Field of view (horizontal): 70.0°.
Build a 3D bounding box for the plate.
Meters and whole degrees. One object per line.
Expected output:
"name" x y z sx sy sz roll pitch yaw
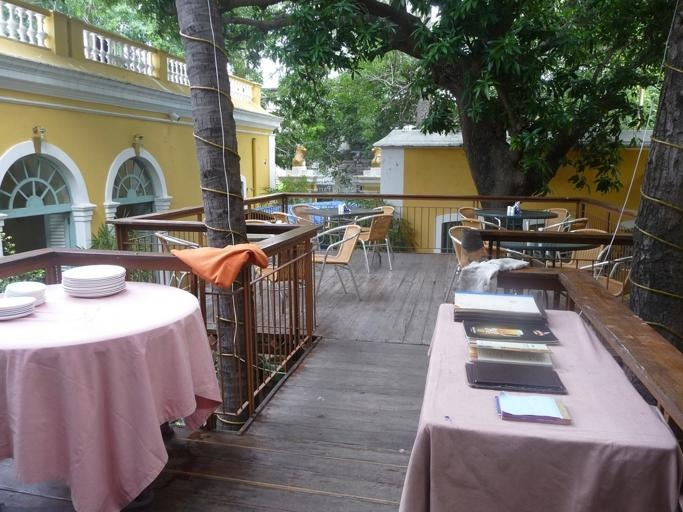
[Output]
"plate" -1.496 0.145 2.652 0.466 0.106 0.331 -7 15 -28
